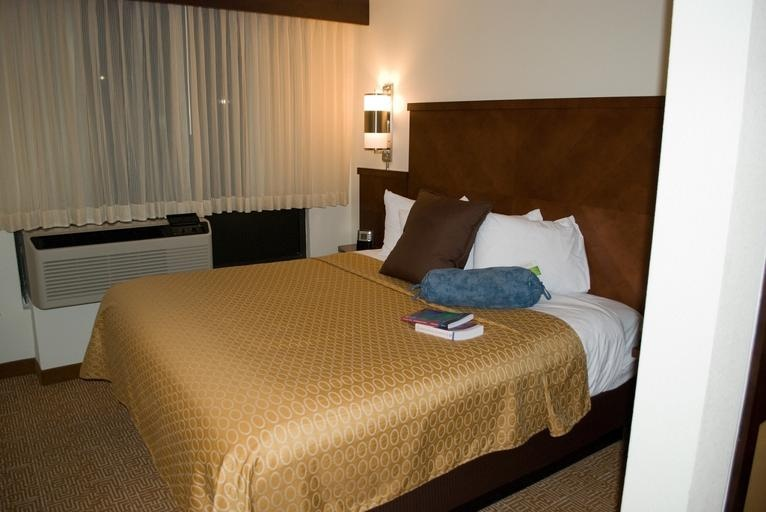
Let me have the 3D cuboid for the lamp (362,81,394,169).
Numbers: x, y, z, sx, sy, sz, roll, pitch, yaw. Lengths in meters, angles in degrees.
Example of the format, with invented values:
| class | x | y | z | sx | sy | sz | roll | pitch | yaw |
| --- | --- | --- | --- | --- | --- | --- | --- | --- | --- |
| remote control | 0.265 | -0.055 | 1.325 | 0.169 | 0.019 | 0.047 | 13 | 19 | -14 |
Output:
| class | x | y | z | sx | sy | sz | roll | pitch | yaw |
| --- | --- | --- | --- | --- | --- | --- | --- | --- | --- |
| lamp | -0.043 | -1.124 | 4.741 | 0.211 | 0.758 | 0.206 | -2 | 17 | -10 |

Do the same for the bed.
| class | x | y | z | sx | sy | sz | roll | pitch | yaw |
| --- | --- | --- | --- | --- | --- | --- | --- | --- | --- |
| bed | 0.238 | 0.001 | 3.685 | 1.845 | 2.032 | 2.687 | -12 | 19 | -35 |
